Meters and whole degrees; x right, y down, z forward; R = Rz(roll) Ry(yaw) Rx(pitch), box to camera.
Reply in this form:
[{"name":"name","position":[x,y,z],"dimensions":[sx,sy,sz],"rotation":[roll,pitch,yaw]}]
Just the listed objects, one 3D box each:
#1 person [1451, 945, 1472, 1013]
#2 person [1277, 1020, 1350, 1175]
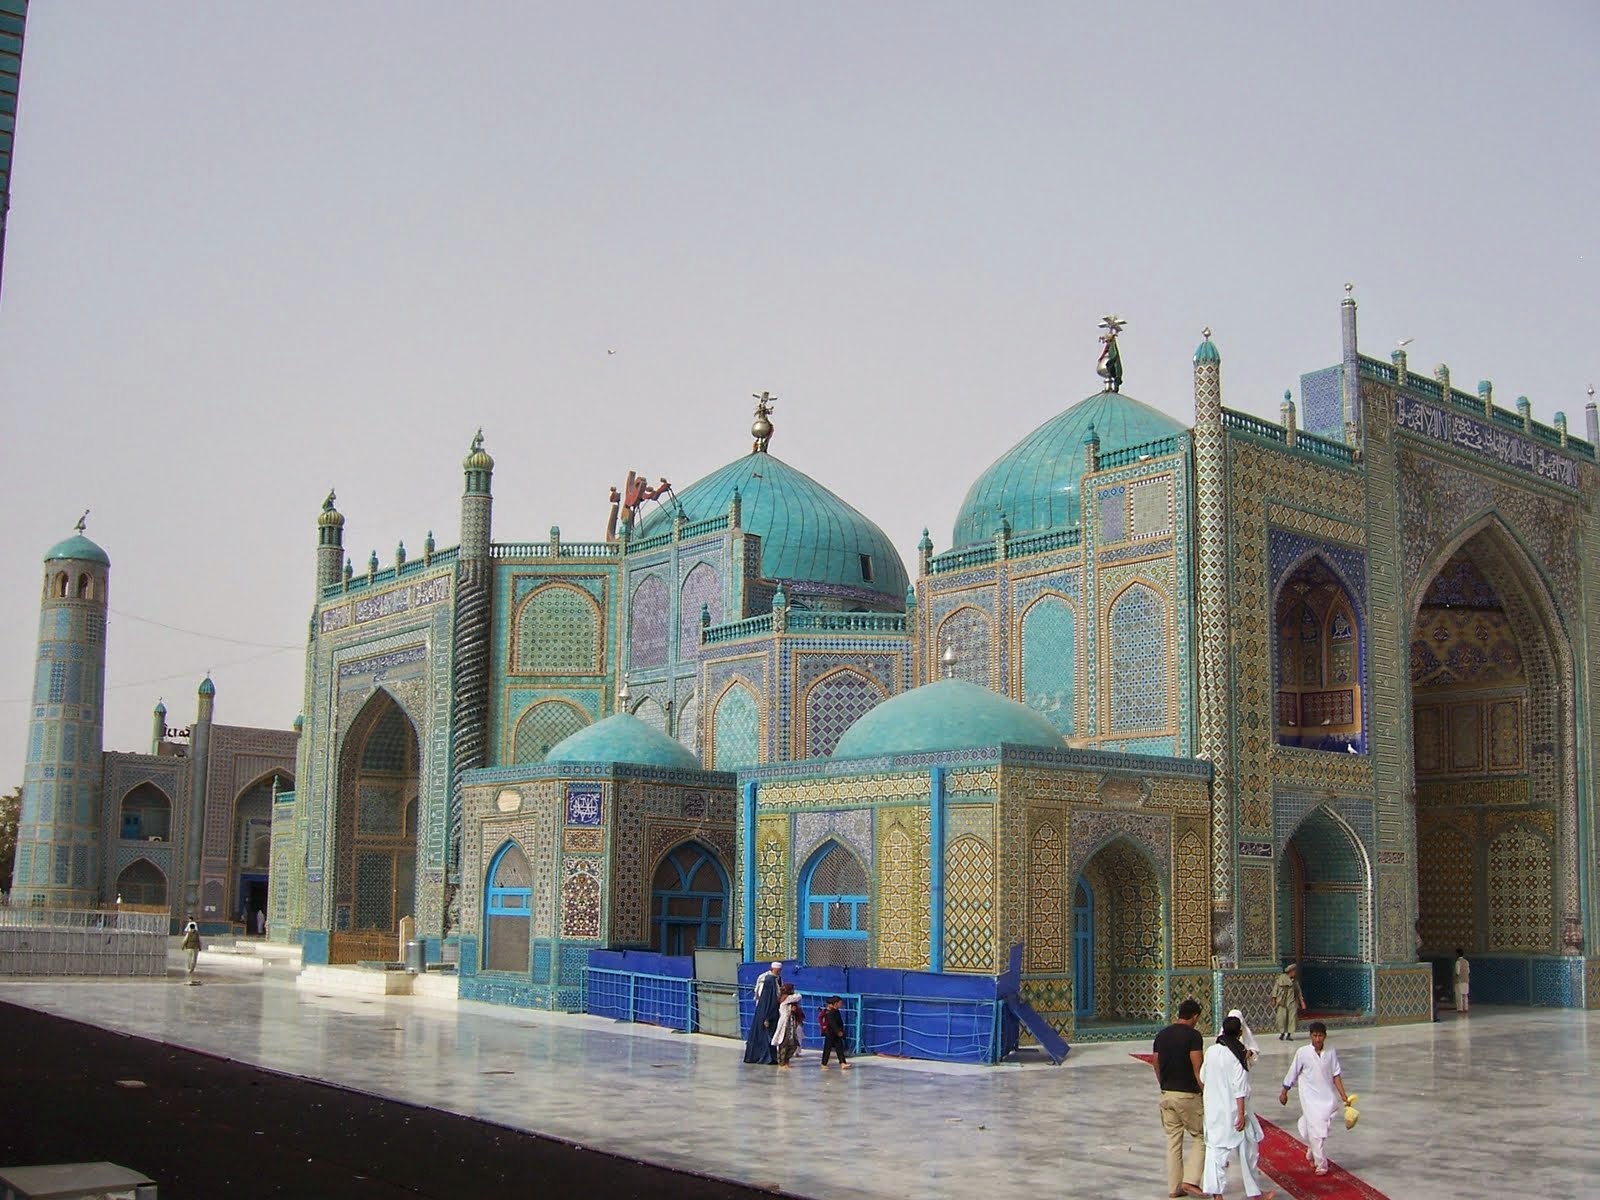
[{"name":"person","position":[8.484,4.864,24.026],"dimensions":[0.176,0.806,1.078],"rotation":[0,3,17]},{"name":"person","position":[3.523,3.330,12.822],"dimensions":[0.402,1.048,1.399],"rotation":[0,3,14]}]
